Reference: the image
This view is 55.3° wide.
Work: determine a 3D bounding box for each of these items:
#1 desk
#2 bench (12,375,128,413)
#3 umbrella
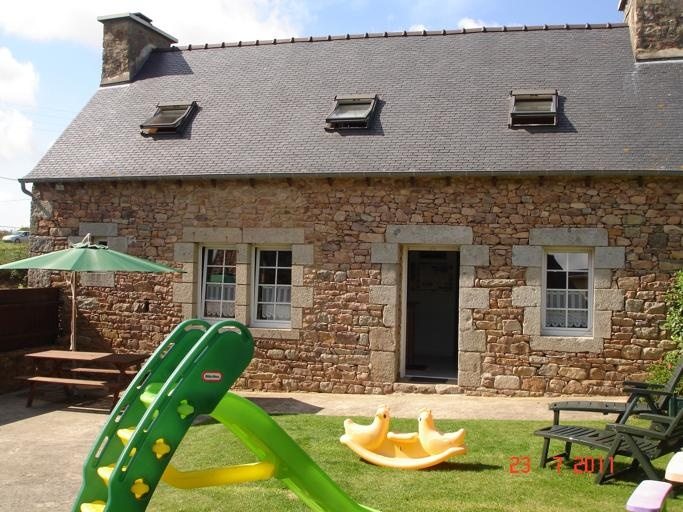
[{"bbox_3d":[-4.118,1.797,10.358,1.616,0.522,1.162,1,3,7],"label":"desk"},{"bbox_3d":[-4.116,2.089,9.799,1.634,0.349,0.605,1,-6,8],"label":"bench"},{"bbox_3d":[-4.339,0.691,10.573,2.256,2.027,3.534,-2,4,-33],"label":"umbrella"}]
